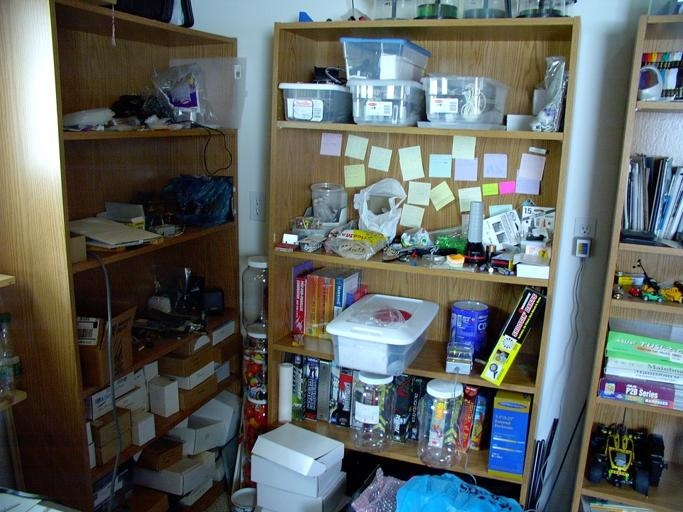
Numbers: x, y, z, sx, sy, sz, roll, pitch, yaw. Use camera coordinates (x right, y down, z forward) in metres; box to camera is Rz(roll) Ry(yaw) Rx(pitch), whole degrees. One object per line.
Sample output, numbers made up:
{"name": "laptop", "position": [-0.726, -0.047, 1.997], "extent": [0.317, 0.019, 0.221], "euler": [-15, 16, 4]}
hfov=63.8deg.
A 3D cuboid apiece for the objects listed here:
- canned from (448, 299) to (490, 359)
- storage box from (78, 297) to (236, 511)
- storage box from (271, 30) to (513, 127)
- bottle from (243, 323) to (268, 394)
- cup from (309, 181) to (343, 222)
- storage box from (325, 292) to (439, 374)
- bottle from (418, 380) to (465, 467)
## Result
{"name": "canned", "position": [0.548, 0.303, 2.372], "extent": [0.174, 0.203, 0.198], "euler": [5, 16, 15]}
{"name": "storage box", "position": [-0.820, 0.639, 2.371], "extent": [0.311, 0.828, 0.978], "euler": [1, 5, 24]}
{"name": "storage box", "position": [0.196, -0.691, 2.178], "extent": [0.878, 0.337, 0.257], "euler": [6, 16, 17]}
{"name": "bottle", "position": [-0.401, 0.496, 2.557], "extent": [0.107, 0.321, 0.185], "euler": [-2, 15, -11]}
{"name": "cup", "position": [-0.065, -0.244, 2.475], "extent": [0.164, 0.159, 0.143], "euler": [-8, 15, -27]}
{"name": "storage box", "position": [0.201, 0.247, 2.283], "extent": [0.312, 0.160, 0.378], "euler": [7, 17, 25]}
{"name": "bottle", "position": [0.409, 0.674, 2.281], "extent": [0.178, 0.352, 0.177], "euler": [1, 15, 0]}
